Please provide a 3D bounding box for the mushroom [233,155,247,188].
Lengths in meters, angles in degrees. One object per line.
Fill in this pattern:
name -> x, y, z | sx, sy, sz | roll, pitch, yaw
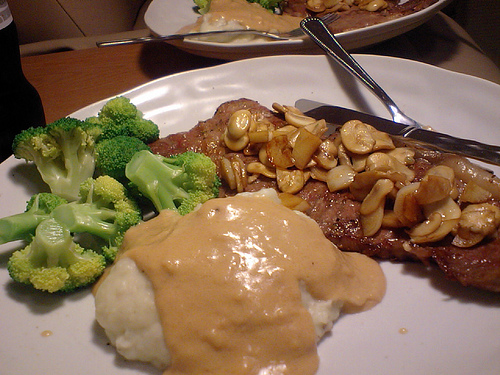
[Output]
mushroom -> -0.046, -0.094, 2.503 | 0.039, 0.109, 0.145 | -9, 71, 8

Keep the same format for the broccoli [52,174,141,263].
broccoli -> -0.732, 0.173, 2.438 | 0.442, 0.193, 0.438 | -42, 67, -16

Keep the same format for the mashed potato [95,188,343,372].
mashed potato -> -0.138, 0.424, 2.163 | 1.162, 0.233, 0.847 | 0, 58, -1

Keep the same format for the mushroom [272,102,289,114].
mushroom -> 0.194, -0.488, 2.805 | 0.099, 0.034, 0.057 | 27, 59, 37

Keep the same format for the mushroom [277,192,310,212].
mushroom -> 0.237, 0.084, 2.375 | 0.105, 0.109, 0.032 | 30, 102, 2

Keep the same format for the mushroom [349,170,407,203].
mushroom -> 0.663, -0.018, 2.317 | 0.253, 0.059, 0.155 | -6, 83, 26

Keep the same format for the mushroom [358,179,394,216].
mushroom -> 0.645, 0.053, 2.303 | 0.210, 0.055, 0.120 | -53, 34, 10

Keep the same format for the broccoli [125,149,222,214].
broccoli -> -0.474, -0.083, 2.546 | 0.361, 0.344, 0.521 | 10, 23, 38

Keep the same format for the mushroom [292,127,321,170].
mushroom -> 0.301, -0.214, 2.418 | 0.126, 0.059, 0.217 | 32, 99, -1

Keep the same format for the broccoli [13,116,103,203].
broccoli -> -1.109, -0.164, 2.612 | 0.514, 0.395, 0.422 | -9, 80, -29

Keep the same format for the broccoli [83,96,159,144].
broccoli -> -0.756, -0.404, 2.720 | 0.316, 0.112, 0.321 | 5, 57, -6

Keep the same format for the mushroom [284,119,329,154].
mushroom -> 0.349, -0.329, 2.596 | 0.366, 0.115, 0.097 | -31, 71, -36

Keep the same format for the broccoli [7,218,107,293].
broccoli -> -0.959, 0.371, 2.209 | 0.384, 0.246, 0.350 | 32, 63, 18

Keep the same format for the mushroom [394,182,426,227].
mushroom -> 0.793, 0.069, 2.297 | 0.116, 0.194, 0.240 | 19, 23, 40

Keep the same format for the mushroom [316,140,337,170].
mushroom -> 0.430, -0.182, 2.505 | 0.112, 0.034, 0.146 | 2, 74, -22

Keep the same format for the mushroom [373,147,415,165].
mushroom -> 0.824, -0.179, 2.486 | 0.160, 0.038, 0.101 | 5, 38, 12

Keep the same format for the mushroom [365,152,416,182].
mushroom -> 0.760, -0.118, 2.403 | 0.203, 0.057, 0.160 | 23, 33, 20

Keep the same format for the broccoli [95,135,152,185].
broccoli -> -0.746, -0.190, 2.526 | 0.257, 0.093, 0.303 | -7, 43, -1

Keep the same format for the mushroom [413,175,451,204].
mushroom -> 0.903, 0.017, 2.197 | 0.120, 0.152, 0.035 | 29, 22, 3

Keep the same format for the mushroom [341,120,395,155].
mushroom -> 0.635, -0.270, 2.489 | 0.245, 0.060, 0.195 | 29, 65, 29

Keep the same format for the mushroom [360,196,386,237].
mushroom -> 0.630, 0.154, 2.307 | 0.127, 0.175, 0.160 | 1, 18, -23
